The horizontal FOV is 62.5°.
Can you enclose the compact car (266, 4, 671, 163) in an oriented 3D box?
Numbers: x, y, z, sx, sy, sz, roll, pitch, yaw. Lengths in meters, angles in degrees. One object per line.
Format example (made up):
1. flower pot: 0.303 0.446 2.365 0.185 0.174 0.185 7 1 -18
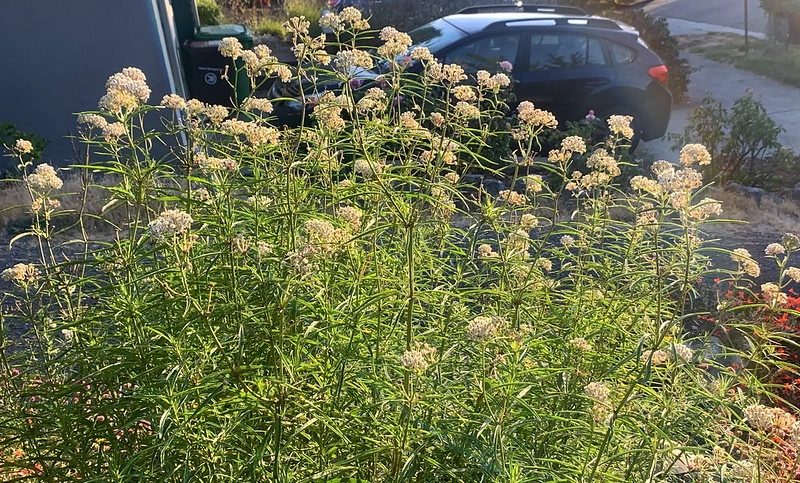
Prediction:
1. compact car: 2.366 -2.496 11.567 6.307 2.292 2.889 1 35 -8
